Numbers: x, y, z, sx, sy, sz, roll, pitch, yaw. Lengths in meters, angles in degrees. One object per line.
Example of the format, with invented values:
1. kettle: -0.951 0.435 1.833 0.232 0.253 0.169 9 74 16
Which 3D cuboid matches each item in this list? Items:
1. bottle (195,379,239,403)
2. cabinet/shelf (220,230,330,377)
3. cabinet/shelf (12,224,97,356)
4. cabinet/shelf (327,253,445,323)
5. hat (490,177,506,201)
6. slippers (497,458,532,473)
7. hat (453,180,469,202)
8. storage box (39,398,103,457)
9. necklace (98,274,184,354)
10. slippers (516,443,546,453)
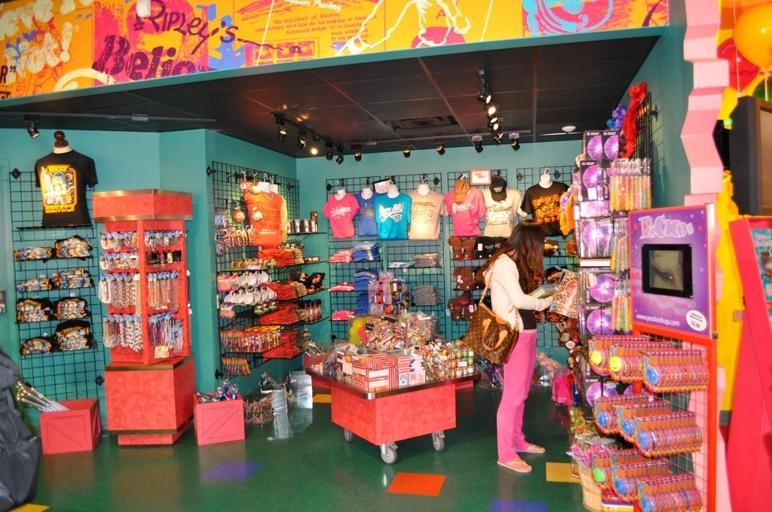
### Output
1. bottle: -2.051 1.702 7.106 0.361 0.151 0.352 -1 -4 0
2. cabinet/shelf: -1.695 0.739 8.456 0.663 1.991 2.332 2 3 18
3. cabinet/shelf: -4.301 0.519 7.475 0.995 1.659 0.879 -5 10 -23
4. cabinet/shelf: -0.075 0.577 9.307 1.928 1.347 1.174 0 9 11
5. hat: 1.689 -1.000 8.650 0.262 0.370 0.147 0 9 8
6. slippers: 1.351 2.176 5.974 0.234 0.083 0.148 -3 -3 26
7. hat: 1.138 -0.975 8.725 0.220 0.322 0.104 3 -18 40
8. storage box: -3.688 1.965 6.727 0.578 0.423 0.571 1 -2 -18
9. necklace: -2.879 0.684 6.774 0.991 1.064 0.282 -1 2 -3
10. slippers: 1.605 2.102 6.328 0.266 0.102 0.121 -2 1 8
